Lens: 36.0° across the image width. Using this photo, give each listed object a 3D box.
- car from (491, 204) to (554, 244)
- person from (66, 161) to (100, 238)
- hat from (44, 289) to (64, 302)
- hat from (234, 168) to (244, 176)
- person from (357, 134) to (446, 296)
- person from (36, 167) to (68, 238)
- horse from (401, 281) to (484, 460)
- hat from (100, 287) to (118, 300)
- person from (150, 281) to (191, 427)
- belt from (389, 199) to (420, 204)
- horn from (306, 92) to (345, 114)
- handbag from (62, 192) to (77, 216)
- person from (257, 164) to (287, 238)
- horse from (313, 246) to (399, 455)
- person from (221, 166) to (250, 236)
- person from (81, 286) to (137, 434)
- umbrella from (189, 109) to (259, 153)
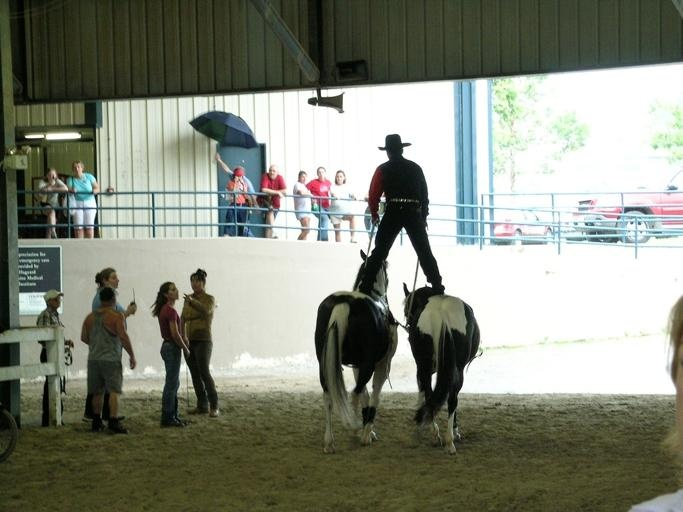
[{"bbox_3d":[4.558,-0.748,27.502,1.861,1.039,0.957,-6,6,-39],"label":"car"},{"bbox_3d":[-5.359,-1.129,21.700,0.591,1.584,1.138,-2,8,-15],"label":"person"},{"bbox_3d":[-5.010,0.685,18.221,0.296,0.191,0.236,-24,3,-6],"label":"hat"},{"bbox_3d":[-2.161,-1.752,22.040,0.163,0.187,0.188,1,-2,-30],"label":"hat"},{"bbox_3d":[0.909,-0.559,16.486,1.134,2.785,0.625,5,-23,-8],"label":"person"},{"bbox_3d":[-5.993,-1.051,21.806,0.580,1.491,1.659,-2,8,-16],"label":"person"},{"bbox_3d":[1.513,1.705,15.931,0.976,2.298,1.154,0,7,-4],"label":"horse"},{"bbox_3d":[-3.663,0.588,16.414,0.186,0.189,0.204,5,8,30],"label":"hat"},{"bbox_3d":[-2.705,1.568,16.784,0.449,2.224,0.586,-1,7,-12],"label":"person"},{"bbox_3d":[0.975,-0.859,16.289,0.450,0.079,0.084,0,8,-3],"label":"belt"},{"bbox_3d":[-0.273,-2.751,18.958,0.646,0.529,0.221,1,-20,1],"label":"horn"},{"bbox_3d":[-5.645,-1.063,21.763,0.278,0.531,1.005,-2,9,-17],"label":"handbag"},{"bbox_3d":[-1.488,-1.135,22.309,0.580,1.539,1.342,-1,8,-5],"label":"person"},{"bbox_3d":[0.333,1.518,16.708,0.799,2.857,3.220,4,4,16],"label":"horse"},{"bbox_3d":[-2.209,-1.093,22.100,0.553,1.508,2.048,-1,9,-7],"label":"person"},{"bbox_3d":[-3.671,1.633,16.461,0.730,2.265,0.853,-3,7,-21],"label":"person"},{"bbox_3d":[-2.573,-2.764,23.006,1.405,0.787,0.551,-2,8,-11],"label":"umbrella"}]
